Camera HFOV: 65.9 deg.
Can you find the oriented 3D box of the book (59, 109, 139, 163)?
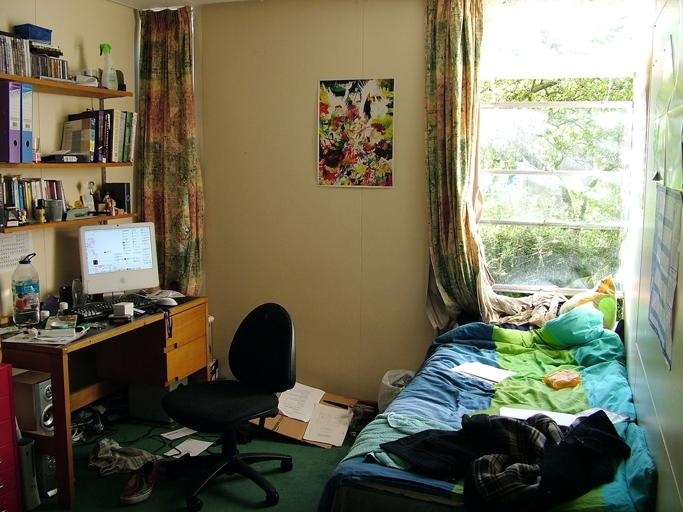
[{"bbox_3d":[-1.736,-0.841,3.707,0.227,0.412,0.421,7,6,27],"label":"book"}]

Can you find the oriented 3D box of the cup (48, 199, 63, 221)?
[{"bbox_3d":[-1.874,-0.291,3.434,0.114,0.126,0.111,3,3,0],"label":"cup"}]

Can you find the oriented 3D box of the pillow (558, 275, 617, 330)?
[{"bbox_3d":[1.797,0.326,3.864,0.384,0.185,0.344,6,39,27],"label":"pillow"}]

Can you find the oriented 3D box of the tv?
[{"bbox_3d":[-1.592,0.036,3.717,0.488,0.487,0.175,-7,2,-38],"label":"tv"}]

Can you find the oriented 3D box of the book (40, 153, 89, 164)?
[{"bbox_3d":[-1.861,-0.643,3.516,0.144,0.035,0.147,1,4,26],"label":"book"}]

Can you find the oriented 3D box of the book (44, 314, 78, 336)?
[{"bbox_3d":[-1.700,0.426,3.171,0.139,0.034,0.138,-2,23,-12],"label":"book"}]

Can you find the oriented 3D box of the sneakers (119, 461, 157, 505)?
[{"bbox_3d":[-1.187,1.337,3.077,0.098,0.093,0.253,3,1,1],"label":"sneakers"}]

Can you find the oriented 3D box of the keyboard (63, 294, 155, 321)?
[{"bbox_3d":[-1.579,0.333,3.619,0.554,0.069,0.468,-6,14,-31],"label":"keyboard"}]

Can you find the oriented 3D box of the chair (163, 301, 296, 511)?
[{"bbox_3d":[-0.654,0.871,3.152,0.780,1.049,0.640,-3,13,-20],"label":"chair"}]
